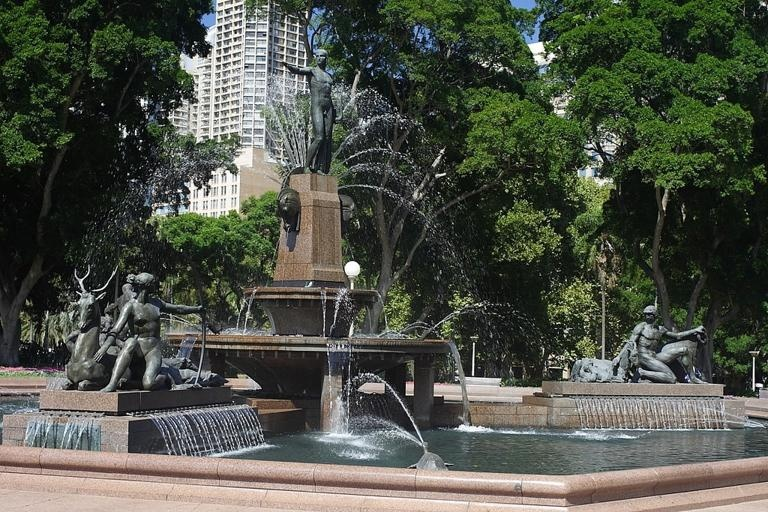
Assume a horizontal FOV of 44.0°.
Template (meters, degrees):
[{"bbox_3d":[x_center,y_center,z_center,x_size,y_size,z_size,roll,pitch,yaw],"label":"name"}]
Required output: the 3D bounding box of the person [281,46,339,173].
[{"bbox_3d":[-2.108,-4.486,30.218,1.327,3.828,0.662,4,-6,-23],"label":"person"}]
